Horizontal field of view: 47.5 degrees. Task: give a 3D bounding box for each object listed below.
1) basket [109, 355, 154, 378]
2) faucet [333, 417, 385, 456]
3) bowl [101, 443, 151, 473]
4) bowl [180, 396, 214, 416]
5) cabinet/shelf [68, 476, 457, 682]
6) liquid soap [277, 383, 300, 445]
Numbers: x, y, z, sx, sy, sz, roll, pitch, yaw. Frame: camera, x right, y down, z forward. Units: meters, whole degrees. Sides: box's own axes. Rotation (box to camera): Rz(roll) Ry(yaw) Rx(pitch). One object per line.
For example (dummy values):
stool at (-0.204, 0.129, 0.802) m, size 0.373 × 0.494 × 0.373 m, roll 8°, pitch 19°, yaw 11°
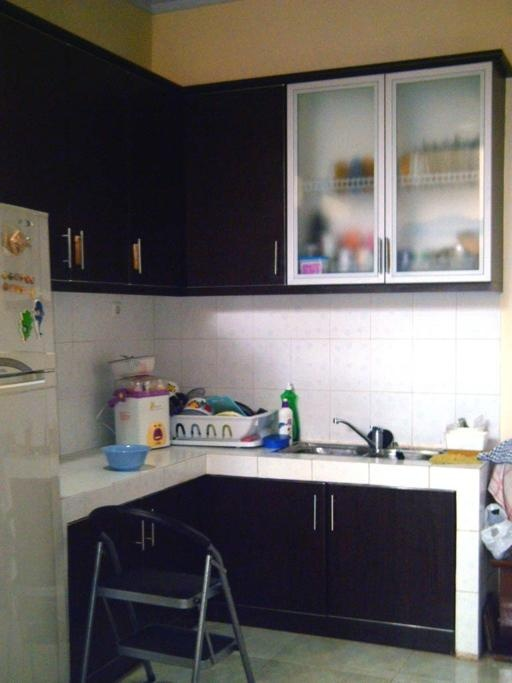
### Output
basket at (-0.577, 0.122, 2.717) m, size 0.132 × 0.066 × 0.125 m, roll -2°, pitch -3°, yaw 11°
faucet at (0.483, 0.456, 2.794) m, size 0.327 × 0.195 × 0.099 m, roll 13°, pitch -15°, yaw -37°
bowl at (-0.512, 0.455, 2.309) m, size 0.167 × 0.092 × 0.244 m, roll 0°, pitch -3°, yaw -11°
bowl at (-0.275, 0.325, 2.860) m, size 0.078 × 0.095 × 0.106 m, roll 16°, pitch -4°, yaw -14°
cabinet/shelf at (0.002, 0.925, 2.351) m, size 1.393 × 0.687 × 0.872 m, roll 1°, pitch -3°, yaw -26°
liquid soap at (0.177, 0.370, 2.999) m, size 0.095 × 0.297 × 0.126 m, roll -1°, pitch -3°, yaw 10°
